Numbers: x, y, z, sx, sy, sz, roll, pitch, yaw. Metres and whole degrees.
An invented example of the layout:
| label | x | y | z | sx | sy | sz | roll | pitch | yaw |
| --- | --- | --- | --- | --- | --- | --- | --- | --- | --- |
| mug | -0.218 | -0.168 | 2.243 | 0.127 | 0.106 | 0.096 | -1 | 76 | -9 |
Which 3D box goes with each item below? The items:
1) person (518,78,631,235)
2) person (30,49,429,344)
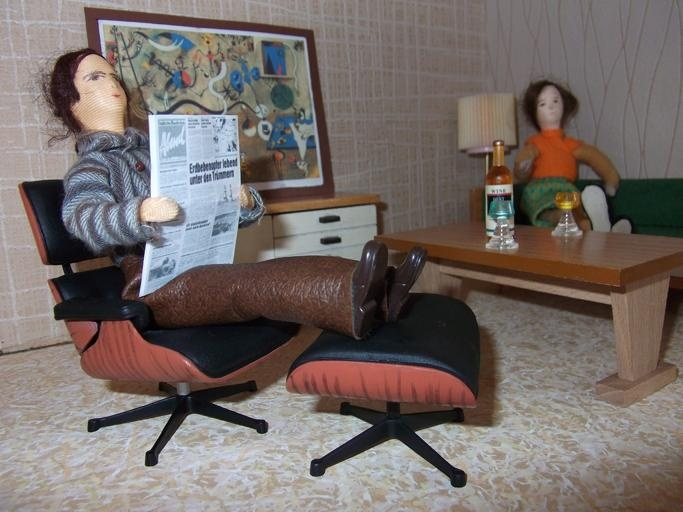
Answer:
| label | x | y | z | sx | sy | sz | roll | pitch | yaw |
| --- | --- | --- | --- | --- | --- | --- | --- | --- | --- |
| person | 1.439 | -0.636 | 3.213 | 0.725 | 1.012 | 0.830 | -4 | 15 | 3 |
| person | -0.432 | -0.175 | 1.785 | 1.272 | 0.849 | 0.655 | 9 | 13 | 6 |
